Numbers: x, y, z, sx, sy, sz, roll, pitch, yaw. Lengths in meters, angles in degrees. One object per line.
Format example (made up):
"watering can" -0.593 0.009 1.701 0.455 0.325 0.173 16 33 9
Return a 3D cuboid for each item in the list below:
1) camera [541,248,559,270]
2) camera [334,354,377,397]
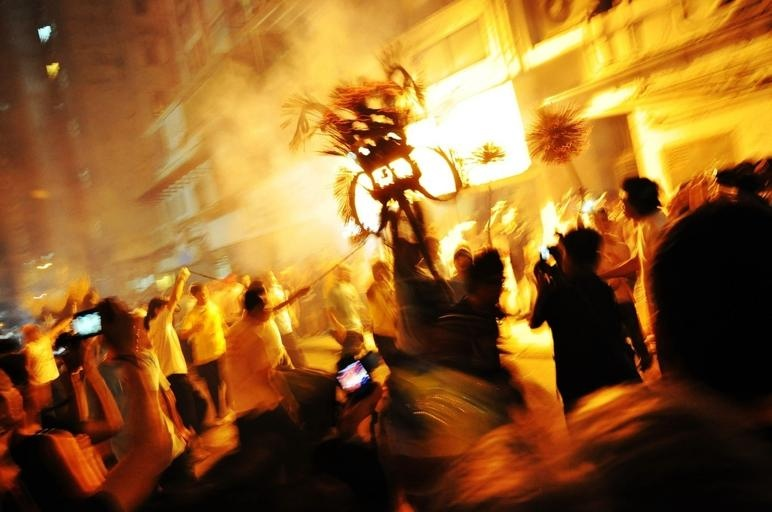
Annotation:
"camera" 1.426 0.014 4.516 0.140 0.184 0.072 -16 -5 -38
"camera" -0.240 1.076 4.571 0.381 0.368 0.128 -11 -2 -9
